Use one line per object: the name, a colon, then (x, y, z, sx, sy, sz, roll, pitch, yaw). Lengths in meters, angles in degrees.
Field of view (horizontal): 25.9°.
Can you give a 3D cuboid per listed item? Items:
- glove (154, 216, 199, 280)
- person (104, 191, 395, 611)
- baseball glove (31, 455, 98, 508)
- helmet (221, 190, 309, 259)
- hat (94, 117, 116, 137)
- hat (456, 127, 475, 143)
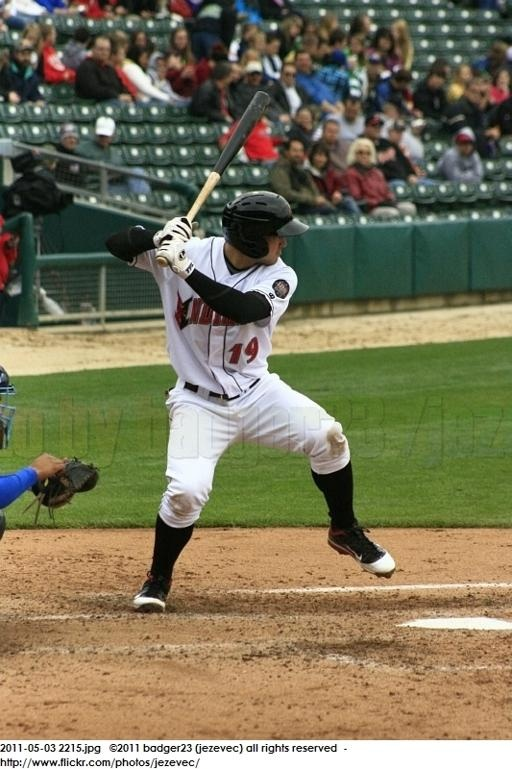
glove: (-0.232, -0.414, 3.323, 0.067, 0.182, 0.173, -9, 48, 19)
person: (-0.005, 0.050, 3.661, 0.853, 1.365, 0.498, -2, 9, -24)
baseball glove: (-0.582, 0.287, 3.508, 0.259, 0.104, 0.153, 5, 39, 45)
helmet: (0.032, -0.529, 3.578, 0.297, 0.190, 0.191, 0, 26, 1)
hat: (-1.252, -2.147, 9.286, 0.159, 0.130, 0.221, 10, 29, -16)
hat: (2.106, -2.539, 11.244, 0.211, 0.097, 0.230, 2, 20, -3)
